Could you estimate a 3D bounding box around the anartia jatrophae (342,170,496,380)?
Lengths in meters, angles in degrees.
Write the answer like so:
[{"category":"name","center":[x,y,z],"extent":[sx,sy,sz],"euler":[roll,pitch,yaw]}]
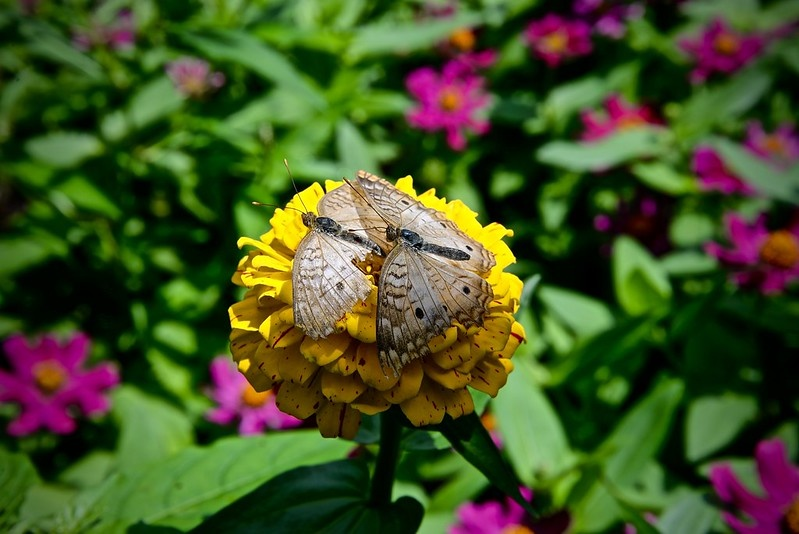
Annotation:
[{"category":"anartia jatrophae","center":[0.002,0.057,1.436],"extent":[0.275,0.342,0.360],"euler":[-11,101,28]}]
